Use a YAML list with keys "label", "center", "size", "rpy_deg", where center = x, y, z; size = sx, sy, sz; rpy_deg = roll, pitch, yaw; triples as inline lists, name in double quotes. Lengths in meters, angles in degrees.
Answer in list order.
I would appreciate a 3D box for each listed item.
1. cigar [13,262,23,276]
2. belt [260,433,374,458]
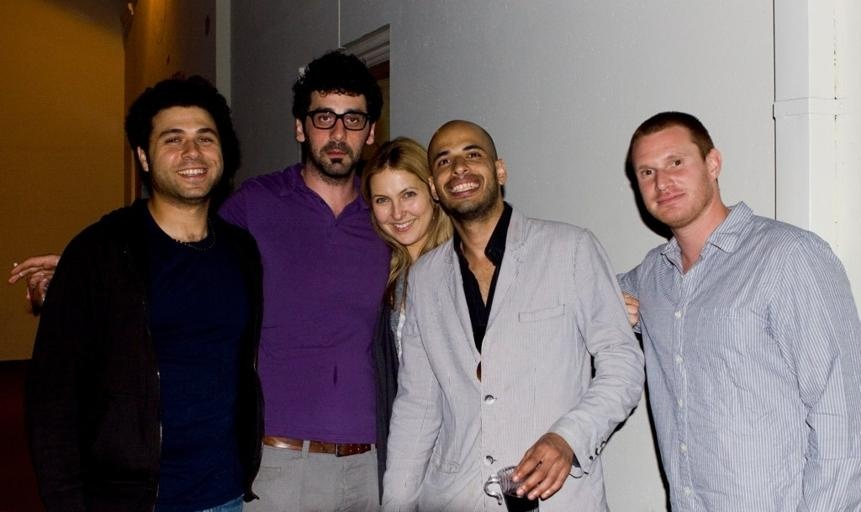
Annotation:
- label: "cigar"
  center: [-2.469, 0.075, 4.472]
  size: [0.042, 0.063, 0.016]
  rpy_deg: [1, -21, 3]
- label: "belt"
  center: [-0.631, 1.052, 4.185]
  size: [0.603, 0.114, 0.054]
  rpy_deg: [0, 8, -7]
